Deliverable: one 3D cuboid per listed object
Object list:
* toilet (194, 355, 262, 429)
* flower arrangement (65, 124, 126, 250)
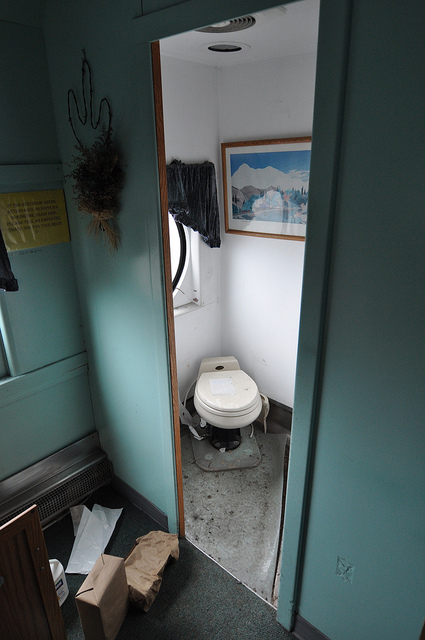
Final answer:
[{"bbox_3d":[0.066,0.442,2.756,0.389,0.259,0.587,-3,23,-12],"label":"toilet"},{"bbox_3d":[-0.438,-0.478,1.673,0.151,0.460,0.366,-15,26,-29],"label":"flower arrangement"}]
